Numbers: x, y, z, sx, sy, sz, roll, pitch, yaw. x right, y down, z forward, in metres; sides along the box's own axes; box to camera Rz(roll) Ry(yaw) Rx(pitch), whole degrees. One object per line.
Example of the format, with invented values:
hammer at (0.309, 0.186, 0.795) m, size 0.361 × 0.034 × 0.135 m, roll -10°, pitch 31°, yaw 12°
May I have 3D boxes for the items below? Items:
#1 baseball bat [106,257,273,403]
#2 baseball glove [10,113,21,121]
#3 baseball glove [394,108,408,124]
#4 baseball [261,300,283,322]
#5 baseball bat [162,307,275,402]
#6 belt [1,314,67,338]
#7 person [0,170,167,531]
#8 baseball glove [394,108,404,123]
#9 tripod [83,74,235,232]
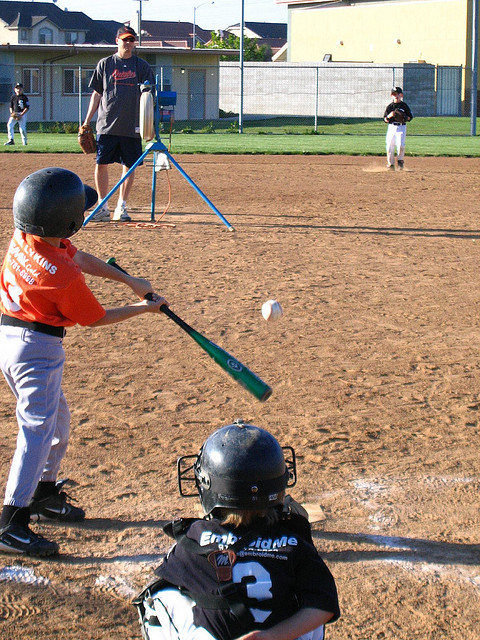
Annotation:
baseball bat at (-0.274, 0.073, 4.665) m, size 1.227 × 0.124 × 0.149 m, roll 37°, pitch 57°, yaw 21°
baseball glove at (-4.738, -4.288, 18.309) m, size 0.198 × 0.110 × 0.259 m, roll 3°, pitch 22°, yaw -9°
baseball glove at (2.443, -3.097, 13.214) m, size 0.158 × 0.204 × 0.109 m, roll 8°, pitch -7°, yaw -23°
baseball at (0.160, -0.038, 4.332) m, size 0.079 × 0.101 × 0.095 m, roll -3°, pitch 11°, yaw 6°
baseball bat at (-0.111, 0.185, 4.286) m, size 0.667 × 0.084 × 0.084 m, roll 37°, pitch 38°, yaw 21°
belt at (-0.667, 0.022, 2.737) m, size 0.200 × 0.073 × 0.099 m, roll 1°, pitch 7°, yaw 0°
person at (-0.565, 0.111, 2.883) m, size 0.331 × 1.199 × 0.477 m, roll 3°, pitch 7°, yaw 20°
baseball glove at (2.420, -3.116, 13.208) m, size 0.139 × 0.175 × 0.162 m, roll -1°, pitch 2°, yaw 35°
tripod at (-0.949, -1.525, 7.824) m, size 1.099 × 1.372 × 1.107 m, roll 19°, pitch 26°, yaw 37°
